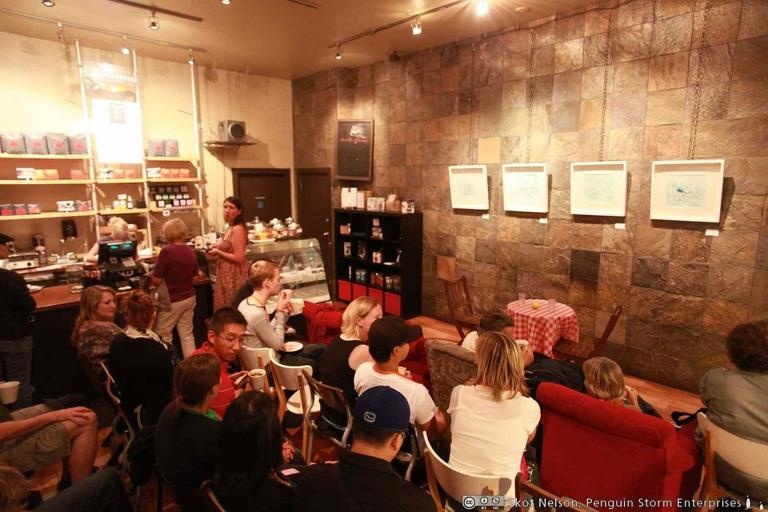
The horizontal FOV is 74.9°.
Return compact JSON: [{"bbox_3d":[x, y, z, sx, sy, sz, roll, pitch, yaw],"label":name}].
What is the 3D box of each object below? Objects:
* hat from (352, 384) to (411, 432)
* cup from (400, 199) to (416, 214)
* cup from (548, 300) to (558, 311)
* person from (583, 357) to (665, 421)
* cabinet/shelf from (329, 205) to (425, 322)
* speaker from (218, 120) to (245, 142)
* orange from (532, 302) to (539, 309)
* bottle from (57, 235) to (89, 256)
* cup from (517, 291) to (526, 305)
[{"bbox_3d":[0.017,1.017,3.540,0.395,0.265,0.508,6,-6,15],"label":"hat"},{"bbox_3d":[0.388,-0.791,8.097,0.283,0.259,0.204,5,18,11],"label":"cup"},{"bbox_3d":[2.075,0.611,6.208,0.115,0.164,0.111,2,-2,0],"label":"cup"},{"bbox_3d":[2.302,1.274,4.787,0.407,0.491,1.210,-22,-33,34],"label":"person"},{"bbox_3d":[-0.040,0.071,8.075,1.927,1.846,0.562,5,6,39],"label":"cabinet/shelf"},{"bbox_3d":[-2.676,-2.122,8.648,0.427,0.405,0.425,-4,4,-43],"label":"speaker"},{"bbox_3d":[1.864,0.615,6.188,0.067,0.066,0.067,25,-11,-31],"label":"orange"},{"bbox_3d":[-4.806,-0.189,7.880,0.493,0.431,0.261,-6,15,-41],"label":"bottle"},{"bbox_3d":[1.747,0.534,6.445,0.144,0.143,0.133,0,10,0],"label":"cup"}]
